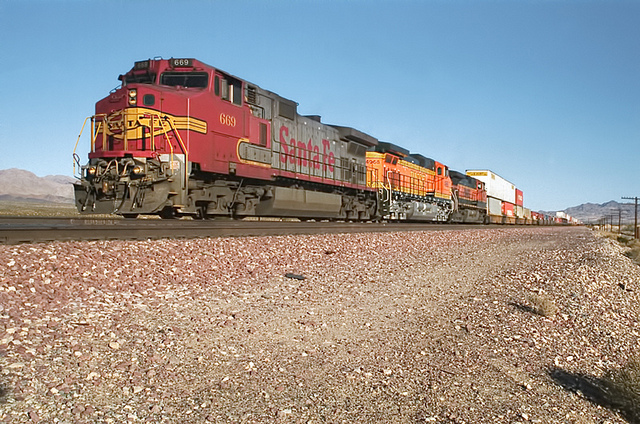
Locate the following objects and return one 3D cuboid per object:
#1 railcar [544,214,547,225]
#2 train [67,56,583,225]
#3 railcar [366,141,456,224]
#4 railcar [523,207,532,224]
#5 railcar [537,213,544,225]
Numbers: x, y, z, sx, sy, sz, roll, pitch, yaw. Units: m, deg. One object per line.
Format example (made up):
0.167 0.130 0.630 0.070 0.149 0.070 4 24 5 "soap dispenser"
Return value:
43.395 1.373 70.722 0.240 2.102 1.816 -15 -19 37 "railcar"
0.883 -2.349 22.251 5.132 4.238 28.116 0 1 30 "train"
8.242 -1.763 24.840 3.774 5.002 14.474 -2 -5 33 "railcar"
30.691 0.555 54.419 1.038 2.224 2.781 -3 -4 27 "railcar"
39.983 1.166 66.460 0.851 1.809 2.393 -5 -5 33 "railcar"
